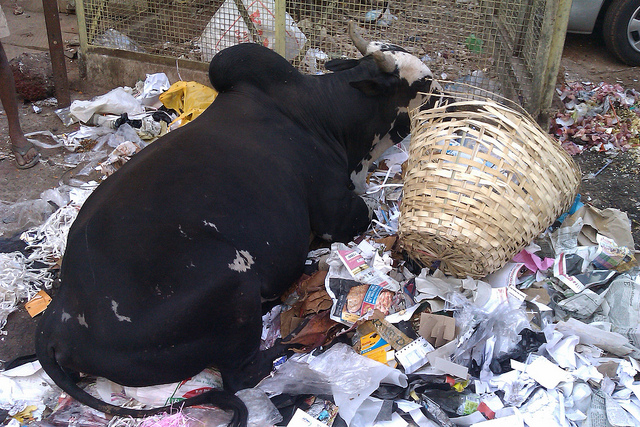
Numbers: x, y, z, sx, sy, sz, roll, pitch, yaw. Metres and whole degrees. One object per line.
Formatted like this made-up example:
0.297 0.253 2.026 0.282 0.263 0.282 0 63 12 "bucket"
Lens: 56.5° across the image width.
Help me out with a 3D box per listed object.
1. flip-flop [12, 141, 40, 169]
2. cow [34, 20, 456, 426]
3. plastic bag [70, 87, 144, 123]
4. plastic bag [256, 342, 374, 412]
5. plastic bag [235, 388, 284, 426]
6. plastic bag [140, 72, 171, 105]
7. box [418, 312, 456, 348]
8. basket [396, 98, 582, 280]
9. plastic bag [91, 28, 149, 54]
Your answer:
-2.683 -0.560 5.553 0.135 0.133 0.376 21 29 5 "flip-flop"
-0.616 0.000 4.194 1.457 1.897 2.605 21 36 26 "cow"
-2.144 -1.076 5.919 0.528 0.179 0.401 -10 29 -20 "plastic bag"
-0.037 1.104 3.877 0.675 0.233 0.375 -10 34 -21 "plastic bag"
-0.400 1.254 3.869 0.228 0.110 0.276 -11 35 -22 "plastic bag"
-1.756 -1.328 6.309 0.130 0.352 0.327 8 1 41 "plastic bag"
0.781 0.812 4.082 0.093 0.285 0.310 8 16 37 "box"
1.339 -0.173 4.363 1.189 0.970 1.387 13 2 17 "basket"
-2.190 -1.985 6.560 0.567 0.156 0.406 5 54 -7 "plastic bag"
